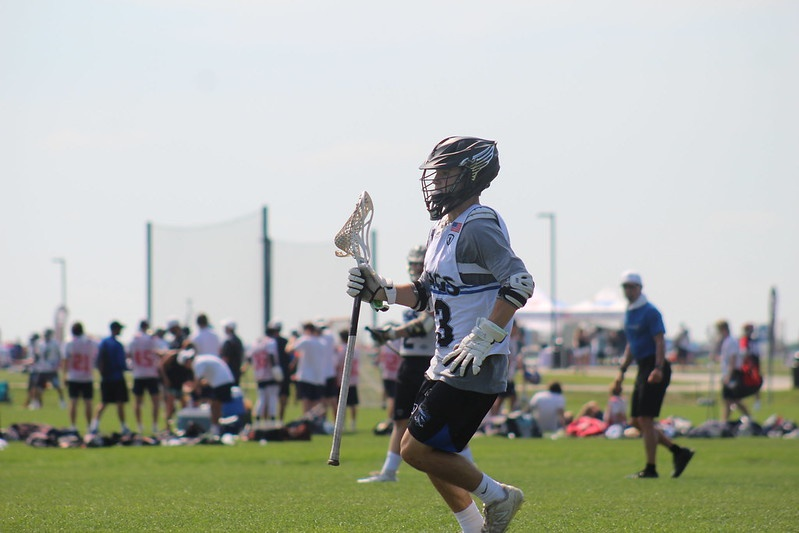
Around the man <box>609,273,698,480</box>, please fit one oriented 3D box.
[{"bbox_3d":[4.740,2.026,30.476,1.170,3.854,0.993,-2,-6,7],"label":"man"}]

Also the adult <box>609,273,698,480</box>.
[{"bbox_3d":[4.743,2.028,30.492,1.203,3.854,1.026,-2,-6,7],"label":"adult"}]
